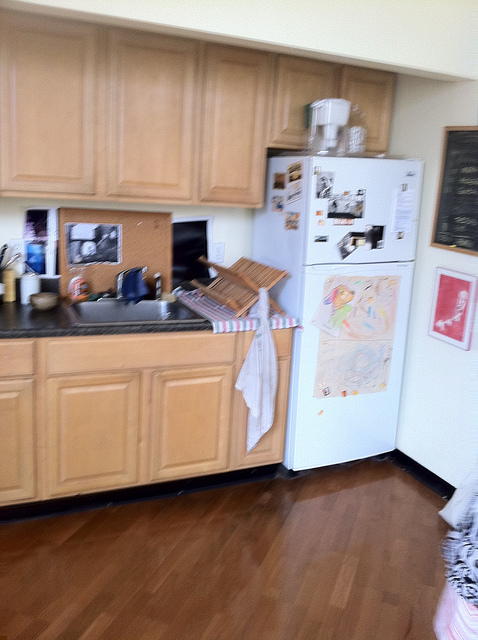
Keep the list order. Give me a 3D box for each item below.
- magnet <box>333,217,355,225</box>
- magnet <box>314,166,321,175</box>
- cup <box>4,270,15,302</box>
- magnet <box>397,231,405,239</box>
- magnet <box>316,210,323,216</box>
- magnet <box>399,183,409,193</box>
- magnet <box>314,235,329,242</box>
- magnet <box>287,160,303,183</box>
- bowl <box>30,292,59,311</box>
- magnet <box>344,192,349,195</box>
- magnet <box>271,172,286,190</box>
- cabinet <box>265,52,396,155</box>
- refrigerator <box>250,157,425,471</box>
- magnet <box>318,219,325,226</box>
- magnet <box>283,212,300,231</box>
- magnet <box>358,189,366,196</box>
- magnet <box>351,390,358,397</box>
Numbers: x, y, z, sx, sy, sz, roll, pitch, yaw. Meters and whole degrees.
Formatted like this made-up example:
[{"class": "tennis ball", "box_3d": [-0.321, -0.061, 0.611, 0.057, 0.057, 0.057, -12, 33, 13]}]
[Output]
[{"class": "magnet", "box_3d": [0.509, -0.477, 2.492, 0.122, 0.035, 0.009, -3, 13, -29]}, {"class": "magnet", "box_3d": [0.361, -0.688, 2.373, 0.035, 0.037, 0.034, -2, 6, -11]}, {"class": "cup", "box_3d": [-1.117, -0.159, 2.499, 0.045, 0.151, 0.035, -2, 13, -25]}, {"class": "magnet", "box_3d": [0.836, -0.439, 2.665, 0.035, 0.036, 0.038, 8, 22, 19]}, {"class": "magnet", "box_3d": [0.380, -0.503, 2.431, 0.039, 0.026, 0.021, -1, 19, -10]}, {"class": "magnet", "box_3d": [0.833, -0.672, 2.611, 0.049, 0.046, 0.016, -7, 15, -29]}, {"class": "magnet", "box_3d": [0.393, -0.389, 2.466, 0.050, 0.015, 0.037, 2, 24, 3]}, {"class": "magnet", "box_3d": [0.267, -0.714, 2.479, 0.017, 0.092, 0.140, -1, 12, -21]}, {"class": "bowl", "box_3d": [-0.921, -0.089, 2.423, 0.095, 0.051, 0.092, -1, 8, 0]}, {"class": "magnet", "box_3d": [0.513, -0.605, 2.460, 0.016, 0.010, 0.004, -7, 9, -19]}, {"class": "magnet", "box_3d": [0.204, -0.709, 2.632, 0.023, 0.088, 0.094, -4, 3, -32]}, {"class": "cabinet", "box_3d": [0.408, -1.091, 2.753, 0.716, 0.468, 0.353, -5, 19, -28]}, {"class": "refrigerator", "box_3d": [0.512, -0.075, 3.093, 0.915, 1.650, 0.807, -5, 16, -21]}, {"class": "magnet", "box_3d": [0.390, -0.463, 2.441, 0.032, 0.029, 0.008, 4, 1, -5]}, {"class": "magnet", "box_3d": [0.266, -0.490, 2.548, 0.024, 0.081, 0.088, -3, 15, -34]}, {"class": "magnet", "box_3d": [0.597, -0.621, 2.504, 0.041, 0.035, 0.026, 4, 19, 9]}, {"class": "magnet", "box_3d": [0.618, 0.396, 2.757, 0.032, 0.029, 0.008, 14, 6, -39]}]
